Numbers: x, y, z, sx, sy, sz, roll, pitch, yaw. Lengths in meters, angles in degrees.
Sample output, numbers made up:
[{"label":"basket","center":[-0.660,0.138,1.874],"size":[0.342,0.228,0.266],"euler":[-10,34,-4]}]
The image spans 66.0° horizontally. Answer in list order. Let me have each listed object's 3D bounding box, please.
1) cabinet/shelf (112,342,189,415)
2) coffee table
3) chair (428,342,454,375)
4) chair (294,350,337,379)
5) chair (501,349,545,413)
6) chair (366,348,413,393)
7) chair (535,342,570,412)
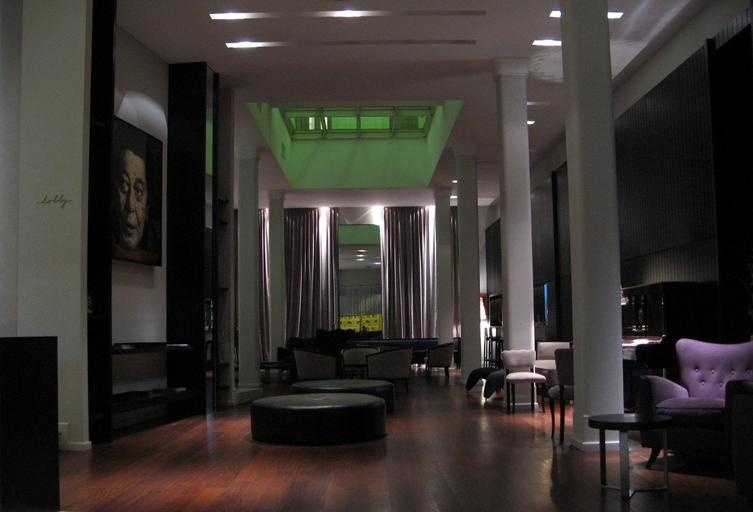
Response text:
[{"label":"cabinet/shelf","center":[-3.312,1.790,8.269],"size":[0.743,0.938,1.434],"euler":[-7,-7,32]},{"label":"coffee table","center":[2.347,1.773,5.462],"size":[0.654,0.721,0.710],"euler":[2,-3,-27]},{"label":"chair","center":[1.619,2.660,14.877],"size":[0.628,0.829,0.797],"euler":[-1,-8,1]},{"label":"chair","center":[-1.203,2.190,11.591],"size":[0.613,0.502,0.660],"euler":[1,-6,-8]},{"label":"chair","center":[2.265,1.937,8.954],"size":[0.644,0.941,0.671],"euler":[1,-7,-17]},{"label":"chair","center":[0.290,2.404,12.298],"size":[0.820,0.952,0.887],"euler":[1,-9,0]},{"label":"chair","center":[3.054,1.988,10.129],"size":[0.681,1.222,0.774],"euler":[-3,-28,19]}]
